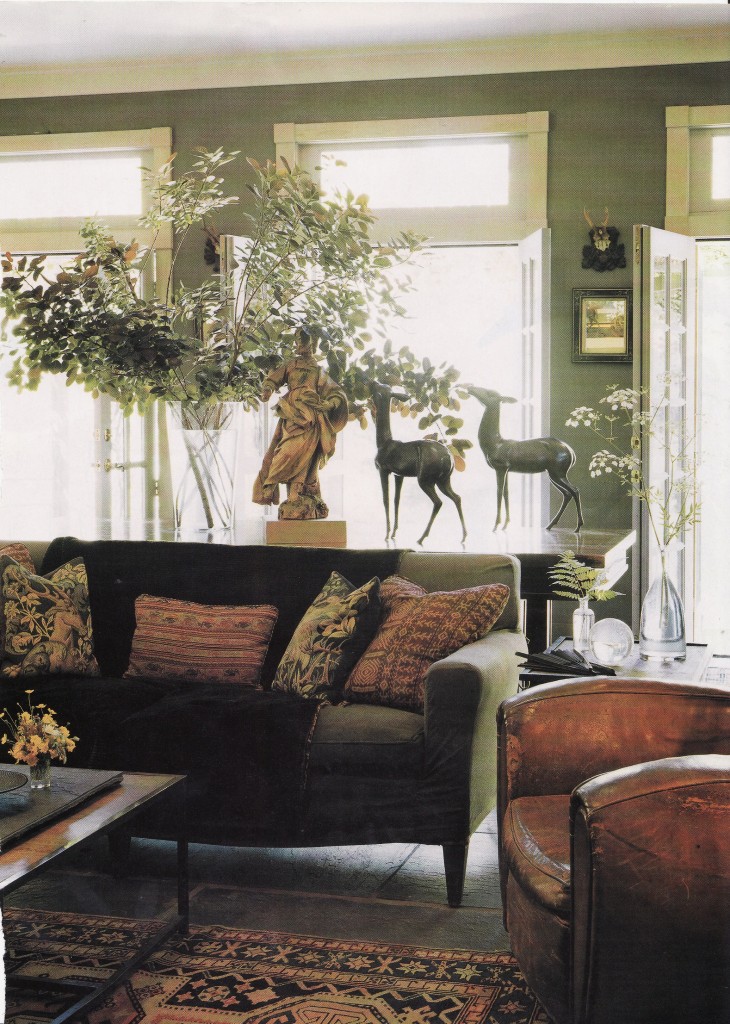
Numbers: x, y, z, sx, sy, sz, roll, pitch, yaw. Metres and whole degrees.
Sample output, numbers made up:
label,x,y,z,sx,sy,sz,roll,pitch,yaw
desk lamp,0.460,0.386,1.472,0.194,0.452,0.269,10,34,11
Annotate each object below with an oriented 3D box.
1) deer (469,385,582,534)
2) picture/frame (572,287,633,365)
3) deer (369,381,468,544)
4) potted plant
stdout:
label,x,y,z,sx,sy,sz,roll,pitch,yaw
deer,0.577,-0.175,4.394,0.353,0.519,0.964,2,4,10
picture/frame,1.036,-0.826,5.418,0.365,0.426,0.042,0,1,6
deer,0.195,-0.175,4.373,0.333,0.533,0.957,1,4,2
potted plant,0.595,0.237,3.443,0.248,0.274,0.260,1,7,11
